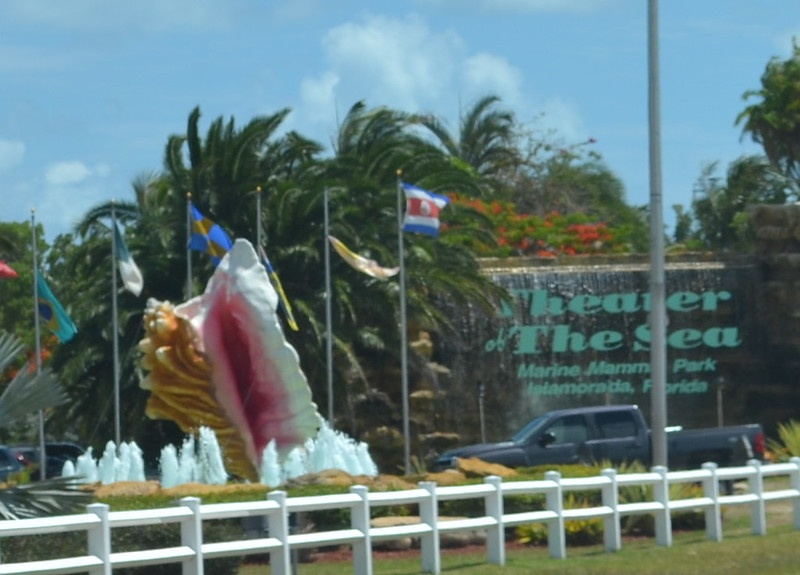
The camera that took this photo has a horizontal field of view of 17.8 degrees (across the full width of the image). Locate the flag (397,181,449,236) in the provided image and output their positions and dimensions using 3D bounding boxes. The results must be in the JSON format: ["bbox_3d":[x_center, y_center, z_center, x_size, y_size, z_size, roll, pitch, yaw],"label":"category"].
[{"bbox_3d":[0.780,-2.927,90.825,1.896,1.802,0.282,1,-3,-18],"label":"flag"}]

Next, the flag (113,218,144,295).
[{"bbox_3d":[-9.507,-1.107,90.052,0.809,0.502,4.108,-28,-36,-14],"label":"flag"}]

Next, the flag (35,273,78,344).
[{"bbox_3d":[-12.363,0.544,92.593,1.243,2.680,2.352,-5,-6,-7],"label":"flag"}]
